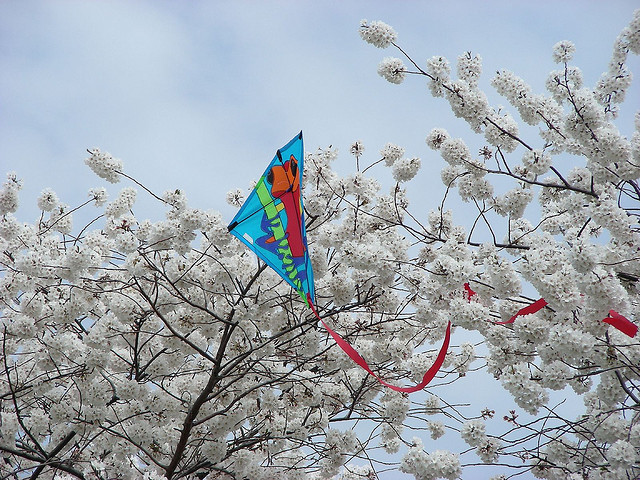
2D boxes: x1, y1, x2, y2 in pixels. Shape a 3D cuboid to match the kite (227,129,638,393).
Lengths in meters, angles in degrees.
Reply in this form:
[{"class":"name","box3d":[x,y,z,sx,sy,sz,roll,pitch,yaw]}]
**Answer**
[{"class":"kite","box3d":[1.501,0.370,12.485,0.721,2.776,3.077,20,-97,-48]}]
